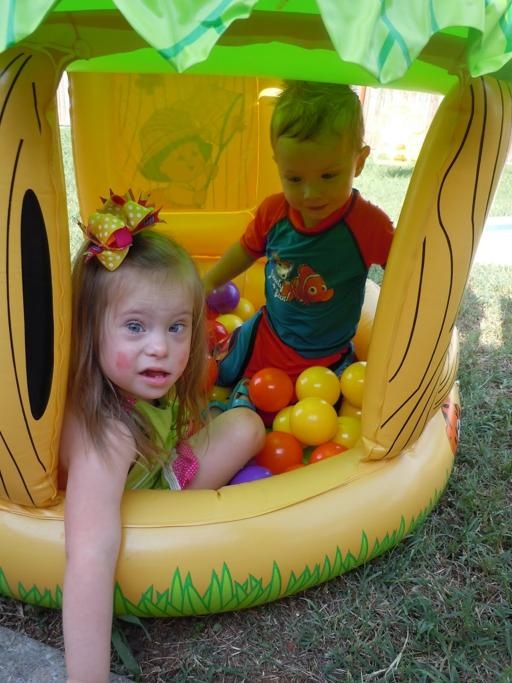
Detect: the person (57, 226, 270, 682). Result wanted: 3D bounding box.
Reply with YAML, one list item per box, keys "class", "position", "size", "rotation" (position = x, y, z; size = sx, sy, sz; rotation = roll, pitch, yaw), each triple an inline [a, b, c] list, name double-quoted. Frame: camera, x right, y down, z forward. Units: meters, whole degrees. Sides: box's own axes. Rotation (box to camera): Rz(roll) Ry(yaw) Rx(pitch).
- class: "person"
  position: [-0.214, 0.287, 1.300]
  size: [0.416, 0.627, 0.933]
  rotation: [-7, 37, -13]

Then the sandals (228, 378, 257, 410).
- class: "sandals"
  position: [-0.050, 0.184, 1.935]
  size: [0.051, 0.041, 0.133]
  rotation: [2, 41, 13]
